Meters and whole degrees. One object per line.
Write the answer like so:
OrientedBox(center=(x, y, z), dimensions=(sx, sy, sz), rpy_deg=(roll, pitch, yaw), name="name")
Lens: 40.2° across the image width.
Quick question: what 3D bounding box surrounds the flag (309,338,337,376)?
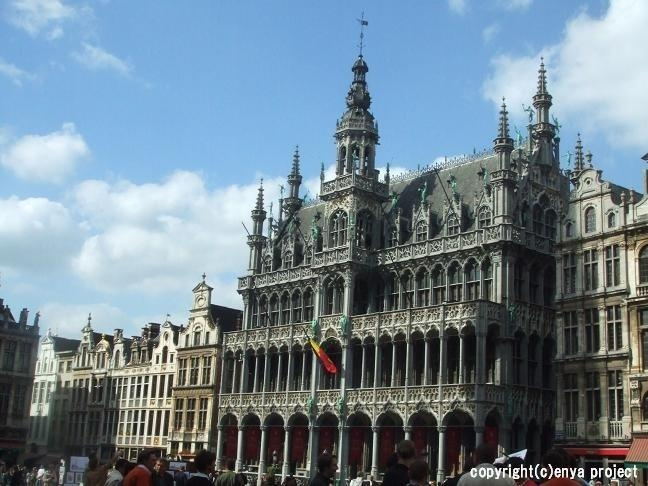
OrientedBox(center=(-0.162, 9.155, 72.202), dimensions=(2.158, 3.460, 5.072), rpy_deg=(0, -17, -2), name="flag")
